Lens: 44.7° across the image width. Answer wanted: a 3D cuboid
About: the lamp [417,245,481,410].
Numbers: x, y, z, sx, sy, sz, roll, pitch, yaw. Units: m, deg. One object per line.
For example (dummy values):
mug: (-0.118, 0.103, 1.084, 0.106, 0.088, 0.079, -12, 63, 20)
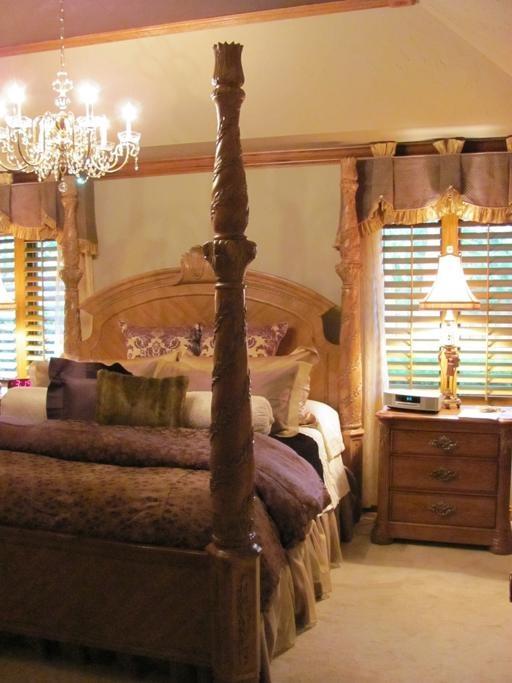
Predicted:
lamp: (1.064, -0.082, 3.395, 0.288, 0.892, 0.478, 5, 0, 14)
